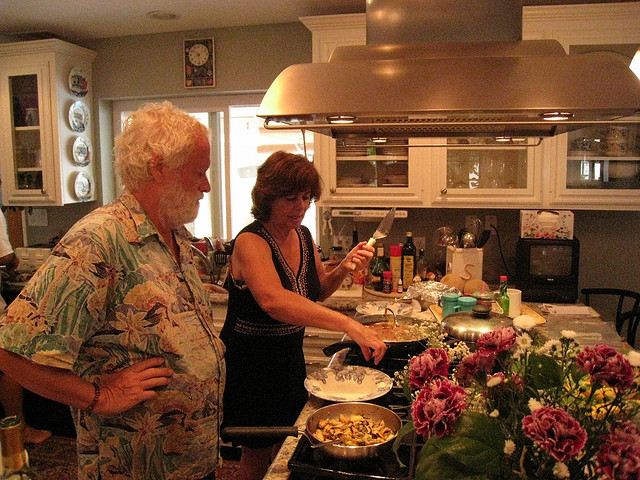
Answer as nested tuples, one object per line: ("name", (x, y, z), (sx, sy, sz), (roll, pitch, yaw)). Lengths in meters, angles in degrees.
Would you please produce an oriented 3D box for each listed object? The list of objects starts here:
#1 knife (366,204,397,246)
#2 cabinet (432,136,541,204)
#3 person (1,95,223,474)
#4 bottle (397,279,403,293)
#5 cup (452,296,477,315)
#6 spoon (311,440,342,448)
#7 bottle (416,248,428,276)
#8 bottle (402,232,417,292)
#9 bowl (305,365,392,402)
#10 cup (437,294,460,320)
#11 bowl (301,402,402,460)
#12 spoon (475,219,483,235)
("knife", (0.386, -0.100, 3.362), (0.065, 0.033, 0.378), (25, 49, 23))
("cabinet", (0.984, -0.390, 3.188), (0.702, 0.459, 0.397), (3, 7, 16))
("person", (-0.620, 0.177, 1.642), (0.632, 1.219, 0.248), (-7, 6, -43))
("bottle", (0.511, 0.294, 3.459), (0.030, 0.076, 0.057), (-2, 4, 5))
("cup", (0.661, 0.299, 2.480), (0.089, 0.084, 0.056), (-5, 12, -20))
("spoon", (0.019, 0.587, 1.555), (0.080, 0.023, 0.031), (-2, 4, 5))
("bottle", (0.682, 0.152, 3.615), (0.099, 0.181, 0.071), (-3, 4, -10))
("bottle", (0.584, 0.135, 3.554), (0.080, 0.378, 0.214), (-1, 5, 17))
("bowl", (0.114, 0.521, 1.955), (0.266, 0.061, 0.264), (-6, -2, 0))
("cup", (0.640, 0.324, 2.677), (0.133, 0.128, 0.088), (4, 6, 26))
("bowl", (0.086, 0.612, 1.765), (0.258, 0.078, 0.252), (-6, -34, -4))
("spoon", (1.108, -0.087, 3.734), (0.065, 0.086, 0.076), (6, 9, 20))
